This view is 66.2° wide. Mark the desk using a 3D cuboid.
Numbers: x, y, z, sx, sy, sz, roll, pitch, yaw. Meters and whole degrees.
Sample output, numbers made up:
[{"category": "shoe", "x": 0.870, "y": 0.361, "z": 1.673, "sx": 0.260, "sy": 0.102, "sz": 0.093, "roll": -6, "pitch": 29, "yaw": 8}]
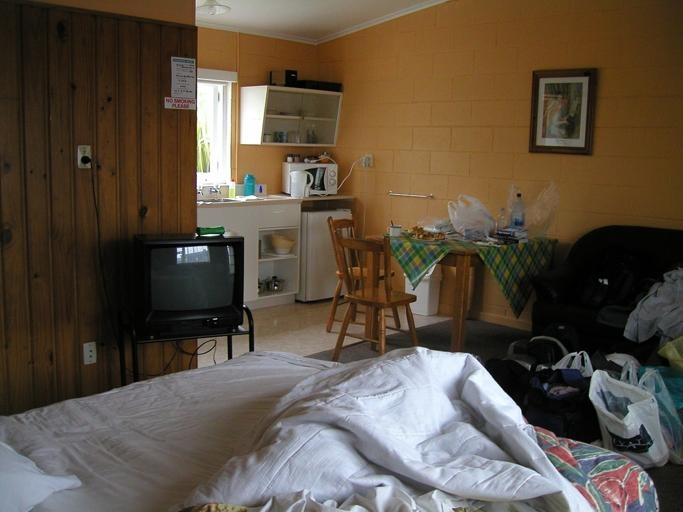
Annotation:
[{"category": "desk", "x": 1.044, "y": 0.027, "z": 4.339, "sx": 1.040, "sy": 0.823, "sz": 1.022, "roll": -12, "pitch": 19, "yaw": -37}]

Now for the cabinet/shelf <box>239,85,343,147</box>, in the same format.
[{"category": "cabinet/shelf", "x": -0.555, "y": -1.558, "z": 5.877, "sx": 1.198, "sy": 0.637, "sz": 0.448, "roll": -10, "pitch": 15, "yaw": -41}]

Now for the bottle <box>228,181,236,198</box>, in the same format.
[{"category": "bottle", "x": -1.160, "y": -0.707, "z": 5.528, "sx": 0.077, "sy": 0.153, "sz": 0.242, "roll": -2, "pitch": 12, "yaw": -11}]

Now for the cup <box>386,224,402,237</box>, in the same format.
[{"category": "cup", "x": 0.442, "y": -0.220, "z": 4.423, "sx": 0.131, "sy": 0.105, "sz": 0.097, "roll": 0, "pitch": 8, "yaw": 6}]

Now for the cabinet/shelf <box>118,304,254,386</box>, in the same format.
[{"category": "cabinet/shelf", "x": -0.918, "y": 0.501, "z": 2.976, "sx": 0.466, "sy": 0.461, "sz": 0.184, "roll": -7, "pitch": 20, "yaw": -32}]

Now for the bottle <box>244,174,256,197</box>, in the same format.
[{"category": "bottle", "x": -1.002, "y": -0.781, "z": 5.692, "sx": 0.123, "sy": 0.227, "sz": 0.220, "roll": -1, "pitch": 12, "yaw": -7}]

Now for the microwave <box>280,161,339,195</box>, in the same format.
[{"category": "microwave", "x": -0.342, "y": -0.850, "z": 5.937, "sx": 0.576, "sy": 0.387, "sz": 0.368, "roll": -6, "pitch": 12, "yaw": -34}]

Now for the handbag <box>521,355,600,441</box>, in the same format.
[{"category": "handbag", "x": 1.153, "y": 0.756, "z": 2.740, "sx": 0.312, "sy": 0.439, "sz": 0.252, "roll": 3, "pitch": -25, "yaw": 30}]

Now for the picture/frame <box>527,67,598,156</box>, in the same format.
[{"category": "picture/frame", "x": 1.974, "y": -1.288, "z": 4.624, "sx": 0.718, "sy": 1.045, "sz": 0.104, "roll": 6, "pitch": 8, "yaw": 36}]

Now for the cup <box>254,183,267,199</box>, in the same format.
[{"category": "cup", "x": -0.895, "y": -0.708, "z": 5.705, "sx": 0.075, "sy": 0.175, "sz": 0.195, "roll": 6, "pitch": 10, "yaw": 32}]

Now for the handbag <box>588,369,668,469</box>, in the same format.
[{"category": "handbag", "x": 1.443, "y": 0.839, "z": 2.647, "sx": 0.261, "sy": 0.448, "sz": 0.334, "roll": -30, "pitch": 20, "yaw": -11}]

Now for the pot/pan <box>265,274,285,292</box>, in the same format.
[{"category": "pot/pan", "x": -0.708, "y": 0.287, "z": 5.605, "sx": 0.164, "sy": 0.124, "sz": 0.134, "roll": 6, "pitch": 8, "yaw": 37}]
